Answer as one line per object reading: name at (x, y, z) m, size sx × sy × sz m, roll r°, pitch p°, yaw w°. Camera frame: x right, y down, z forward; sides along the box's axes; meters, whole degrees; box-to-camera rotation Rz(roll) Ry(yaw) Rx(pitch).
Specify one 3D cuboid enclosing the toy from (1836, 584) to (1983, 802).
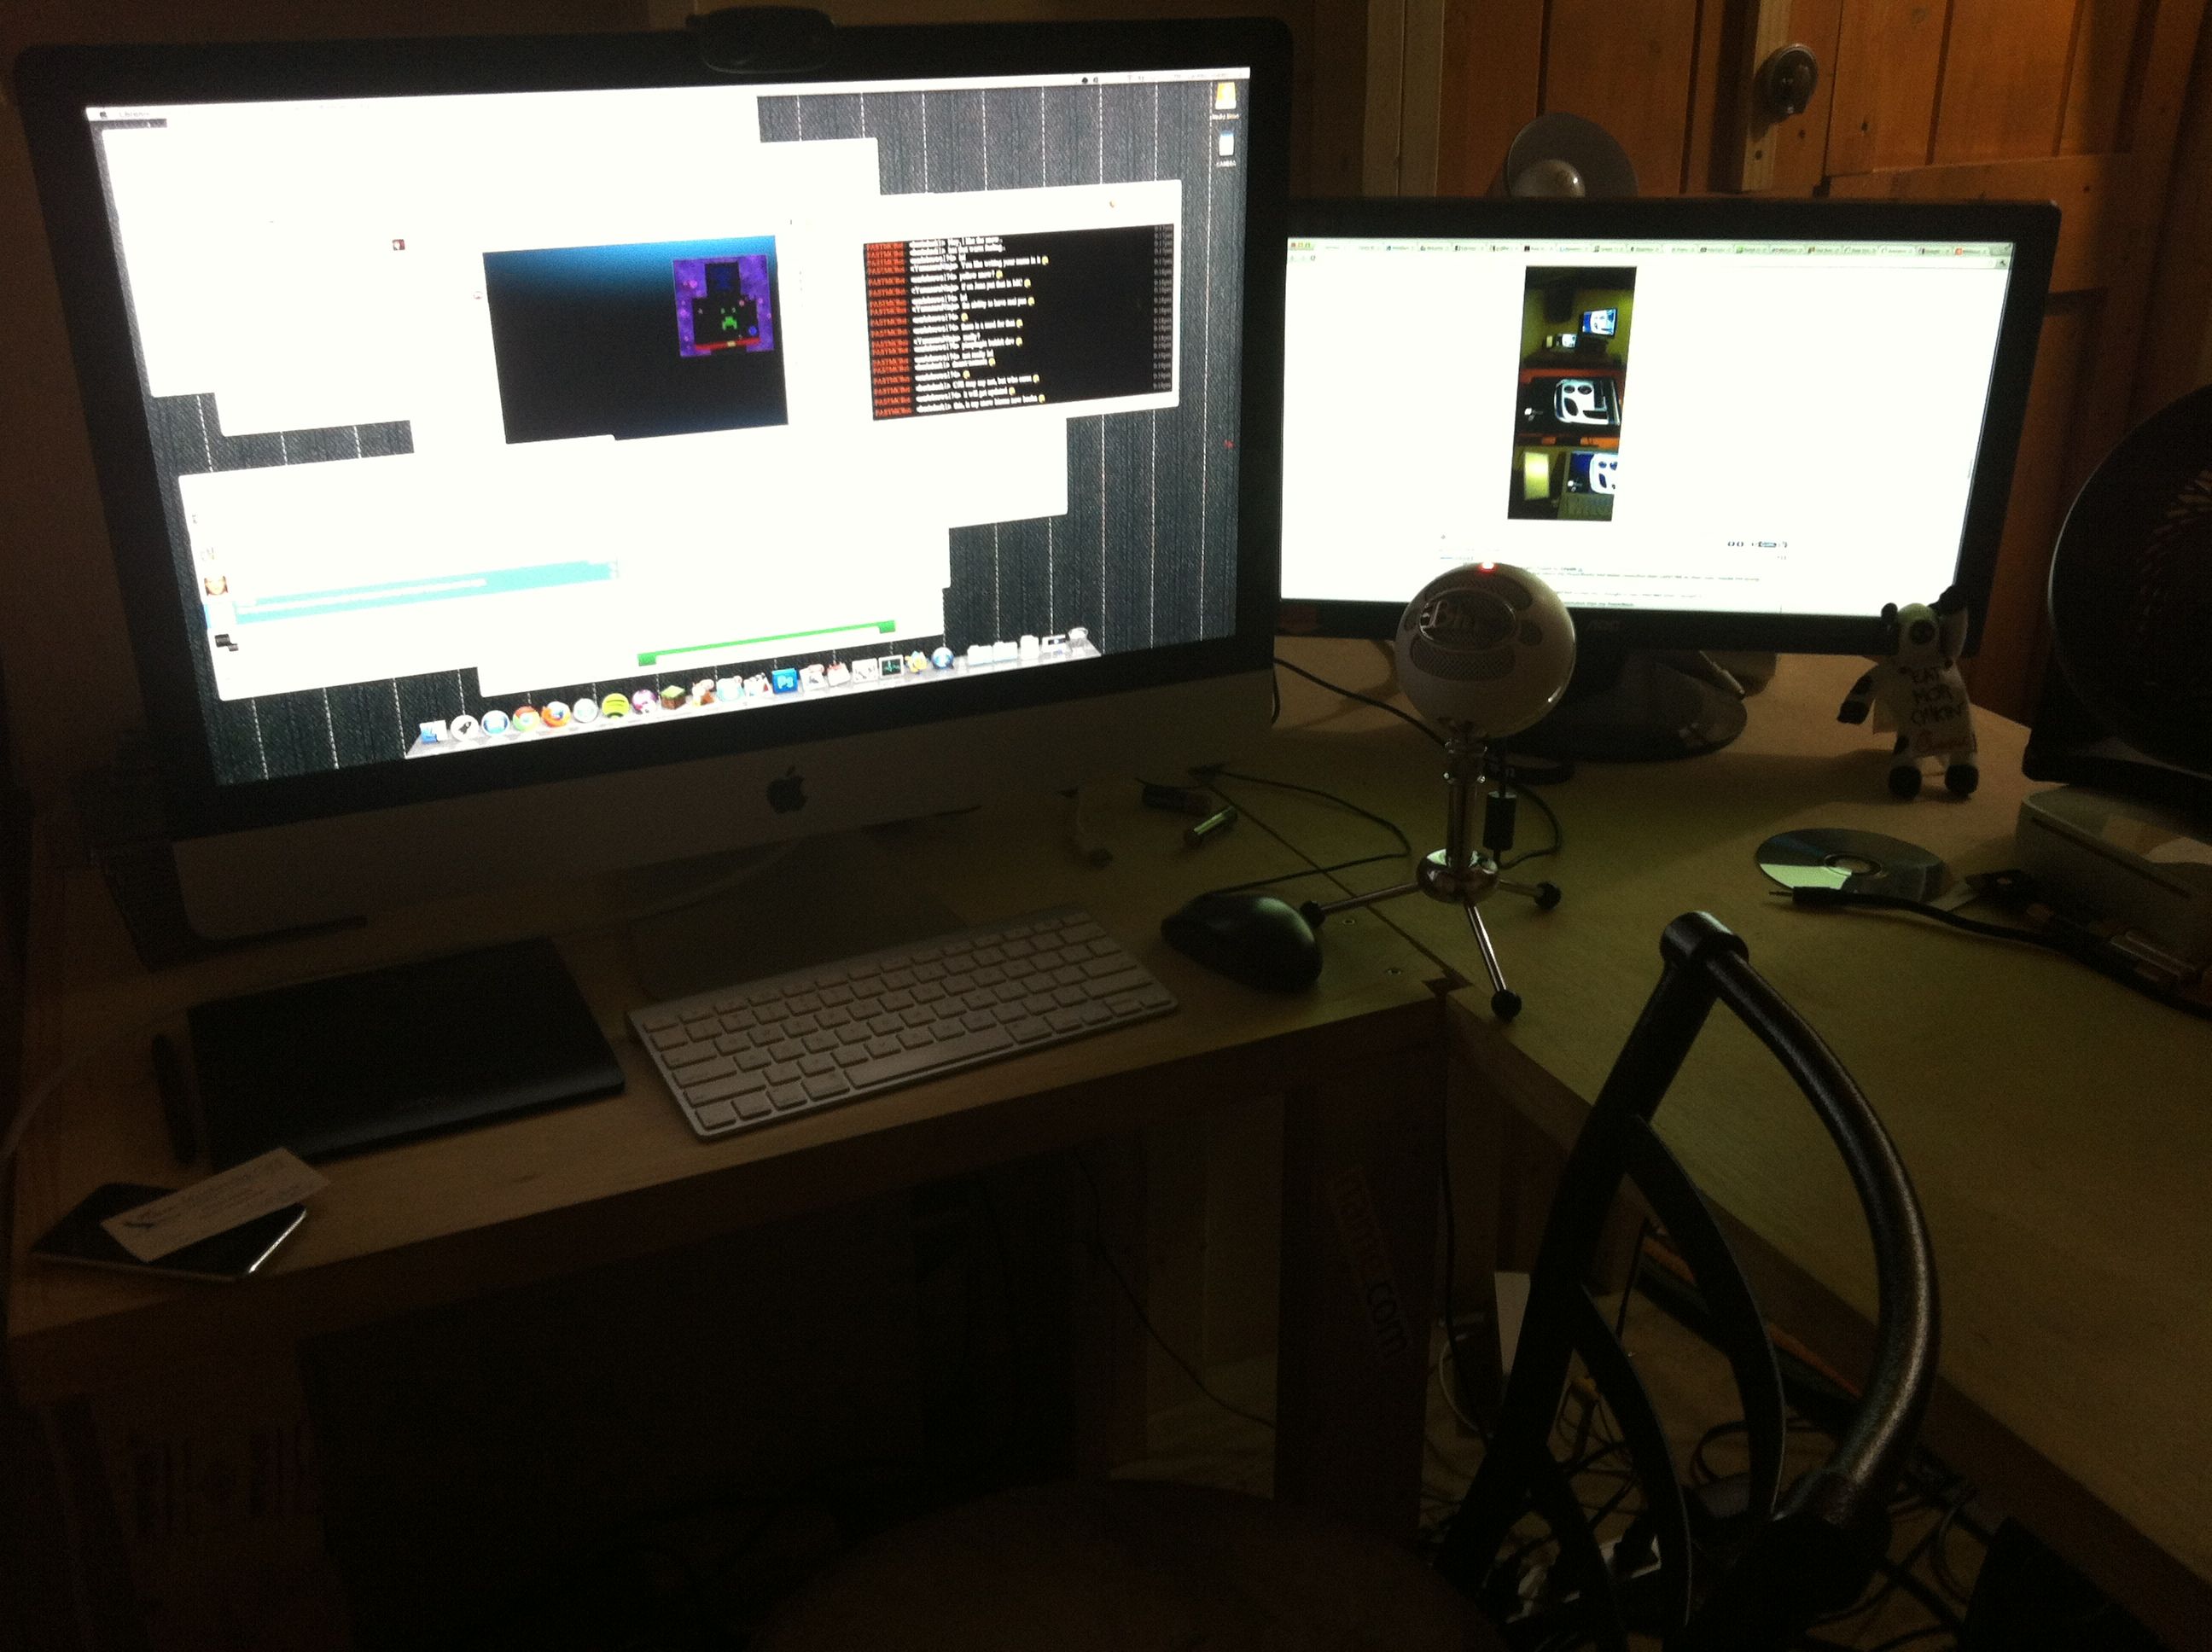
toy at (0.708, -0.116, 1.621) m, size 0.141 × 0.202 × 0.107 m, roll -1°, pitch 24°, yaw 12°
